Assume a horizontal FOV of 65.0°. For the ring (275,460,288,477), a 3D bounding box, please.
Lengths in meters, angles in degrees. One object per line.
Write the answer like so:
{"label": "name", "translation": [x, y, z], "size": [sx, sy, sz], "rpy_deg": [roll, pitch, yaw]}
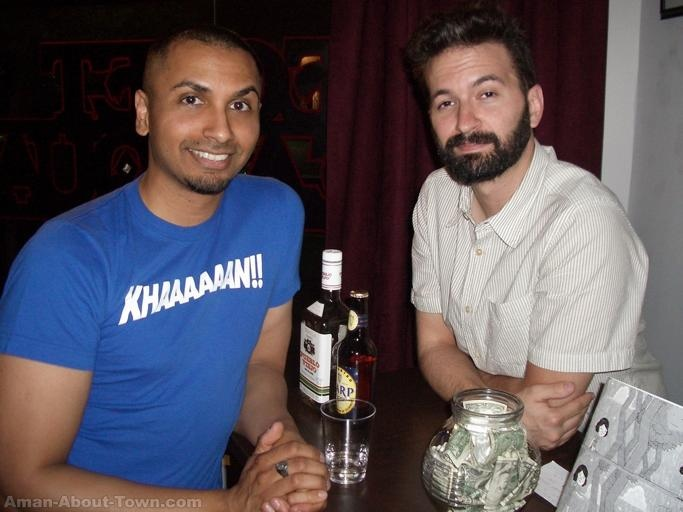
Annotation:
{"label": "ring", "translation": [-0.141, 0.514, 1.288], "size": [0.024, 0.034, 0.013], "rpy_deg": [-8, -18, 31]}

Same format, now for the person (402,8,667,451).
{"label": "person", "translation": [0.521, -0.203, 1.669], "size": [0.775, 1.223, 0.538], "rpy_deg": [4, 10, 32]}
